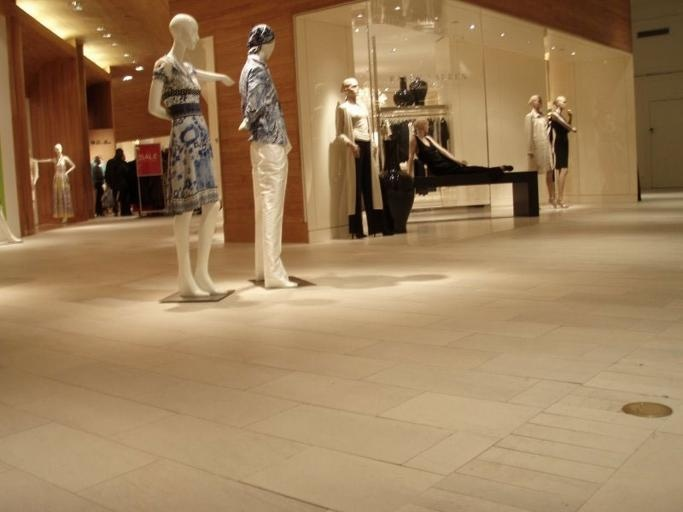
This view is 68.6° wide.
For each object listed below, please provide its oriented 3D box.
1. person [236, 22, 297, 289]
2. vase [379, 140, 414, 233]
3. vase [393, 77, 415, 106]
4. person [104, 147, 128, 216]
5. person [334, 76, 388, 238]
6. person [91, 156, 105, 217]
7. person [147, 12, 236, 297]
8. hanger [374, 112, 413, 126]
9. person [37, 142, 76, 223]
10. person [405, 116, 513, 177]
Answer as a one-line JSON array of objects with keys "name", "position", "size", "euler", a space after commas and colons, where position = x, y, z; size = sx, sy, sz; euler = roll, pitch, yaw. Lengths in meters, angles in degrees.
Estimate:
[{"name": "person", "position": [-0.621, -0.836, 4.144], "size": [0.409, 2.172, 0.424], "euler": [-4, 7, -9]}, {"name": "vase", "position": [0.815, -1.169, 7.677], "size": [0.585, 1.421, 0.579], "euler": [7, 20, 40]}, {"name": "vase", "position": [1.072, -2.768, 8.455], "size": [0.363, 0.501, 0.372], "euler": [8, 26, 24]}, {"name": "person", "position": [-8.124, -2.673, 18.139], "size": [0.509, 2.341, 1.091], "euler": [-10, 9, -43]}, {"name": "person", "position": [0.231, -1.389, 7.180], "size": [0.710, 2.234, 0.463], "euler": [-3, 7, 5]}, {"name": "person", "position": [-9.326, -2.693, 19.173], "size": [0.433, 2.238, 0.696], "euler": [-6, 8, -26]}, {"name": "person", "position": [-1.177, -0.736, 3.783], "size": [0.447, 2.109, 0.425], "euler": [-6, 7, -23]}, {"name": "hanger", "position": [0.826, -2.229, 8.099], "size": [0.563, 0.153, 0.554], "euler": [-5, 6, -20]}, {"name": "person", "position": [-8.403, -2.219, 15.017], "size": [0.698, 2.441, 1.465], "euler": [-7, 8, -29]}, {"name": "person", "position": [1.847, -1.669, 7.887], "size": [1.705, 0.872, 0.549], "euler": [5, 15, 15]}]
